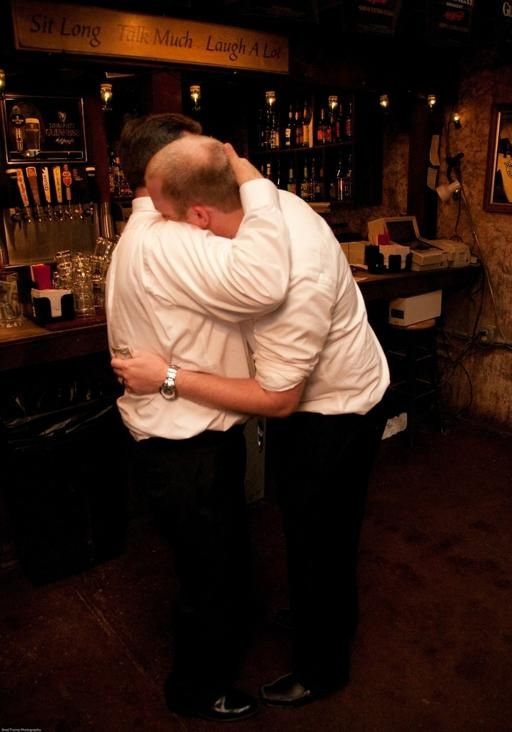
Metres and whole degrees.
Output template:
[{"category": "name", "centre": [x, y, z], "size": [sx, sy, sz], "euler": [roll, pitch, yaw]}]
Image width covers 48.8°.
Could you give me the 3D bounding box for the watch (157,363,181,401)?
[{"category": "watch", "centre": [-0.186, 0.033, 1.263], "size": [0.042, 0.073, 0.070], "euler": [9, 47, 1]}]

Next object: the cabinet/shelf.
[{"category": "cabinet/shelf", "centre": [0.563, -2.054, 5.324], "size": [0.365, 0.927, 1.347], "euler": [-14, 23, -35]}]

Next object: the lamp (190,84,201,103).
[{"category": "lamp", "centre": [-0.351, -1.584, 3.236], "size": [0.051, 0.110, 0.189], "euler": [-2, 14, -8]}]

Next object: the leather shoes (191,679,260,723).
[{"category": "leather shoes", "centre": [-0.079, 0.940, 1.595], "size": [0.197, 0.080, 0.074], "euler": [-3, 10, -5]}]

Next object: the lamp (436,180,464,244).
[{"category": "lamp", "centre": [1.385, -1.110, 4.010], "size": [0.199, 0.515, 0.127], "euler": [10, 56, 20]}]

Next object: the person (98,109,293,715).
[{"category": "person", "centre": [-0.160, 0.221, 1.400], "size": [0.371, 1.584, 0.638], "euler": [-3, 13, -11]}]

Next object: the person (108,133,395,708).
[{"category": "person", "centre": [-0.007, 0.205, 1.506], "size": [0.674, 1.459, 0.530], "euler": [-2, 16, -5]}]
